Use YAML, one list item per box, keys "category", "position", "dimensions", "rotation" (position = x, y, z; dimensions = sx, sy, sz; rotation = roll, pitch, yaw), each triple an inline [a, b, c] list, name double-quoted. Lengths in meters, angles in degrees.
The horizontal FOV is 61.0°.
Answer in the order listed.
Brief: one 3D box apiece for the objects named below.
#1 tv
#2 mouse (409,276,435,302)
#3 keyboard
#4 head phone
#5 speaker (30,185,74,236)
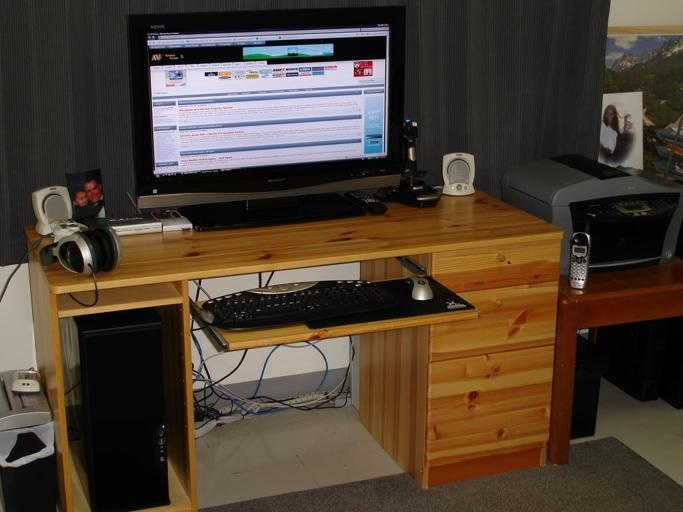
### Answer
- category: "tv"
  position: [-0.283, -0.479, 1.952]
  dimensions: [0.837, 0.532, 0.239]
  rotation: [-6, 27, -15]
- category: "mouse"
  position: [0.246, 0.097, 1.772]
  dimensions: [0.066, 0.050, 0.099]
  rotation: [0, 21, 8]
- category: "keyboard"
  position: [-0.123, 0.140, 1.675]
  dimensions: [0.549, 0.065, 0.202]
  rotation: [-10, 22, -18]
- category: "head phone"
  position: [-0.725, -0.018, 1.605]
  dimensions: [0.245, 0.107, 0.203]
  rotation: [1, 14, 2]
- category: "speaker"
  position: [-0.912, -0.142, 1.840]
  dimensions: [0.153, 0.178, 0.109]
  rotation: [-8, 17, -18]
